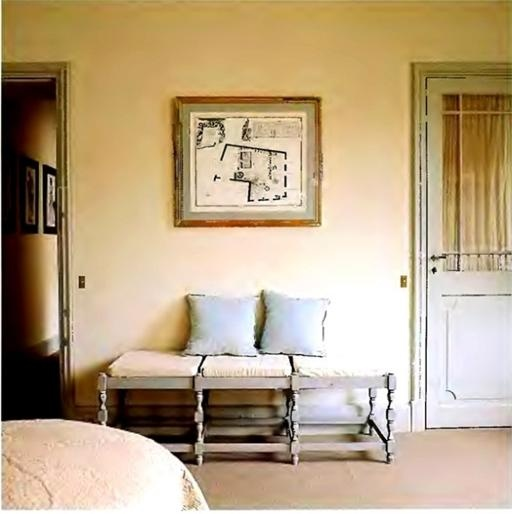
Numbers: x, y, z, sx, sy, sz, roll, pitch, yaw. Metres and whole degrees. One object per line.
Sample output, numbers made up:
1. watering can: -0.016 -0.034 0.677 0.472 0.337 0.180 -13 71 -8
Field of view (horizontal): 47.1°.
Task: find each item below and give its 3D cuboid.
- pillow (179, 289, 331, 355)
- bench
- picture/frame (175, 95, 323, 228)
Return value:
1. pillow: 0.008 0.436 3.750 0.925 0.321 0.284 6 2 -1
2. bench: -0.021 0.909 3.605 1.748 0.520 0.499 6 2 0
3. picture/frame: -0.041 -0.648 3.830 0.664 0.722 0.061 -1 1 1
